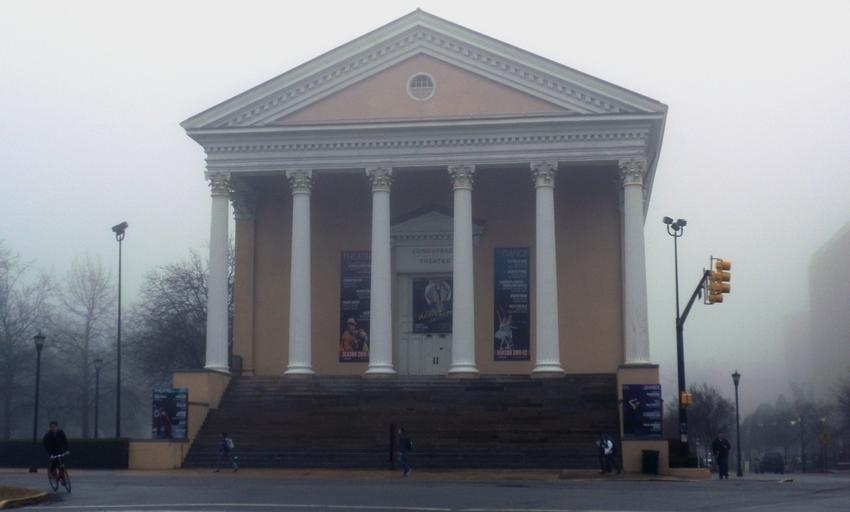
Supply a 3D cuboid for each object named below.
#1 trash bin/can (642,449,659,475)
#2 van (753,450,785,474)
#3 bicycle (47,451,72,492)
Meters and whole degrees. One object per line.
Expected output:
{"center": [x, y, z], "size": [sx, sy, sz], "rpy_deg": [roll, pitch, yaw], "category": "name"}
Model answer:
{"center": [11.782, 10.747, 64.109], "size": [0.895, 1.199, 0.443], "rpy_deg": [0, -3, 5], "category": "trash bin/can"}
{"center": [26.675, 15.955, 94.402], "size": [1.505, 1.345, 2.316], "rpy_deg": [1, -3, -15], "category": "van"}
{"center": [-17.109, 10.014, 56.788], "size": [0.789, 1.097, 1.844], "rpy_deg": [-19, -6, -3], "category": "bicycle"}
